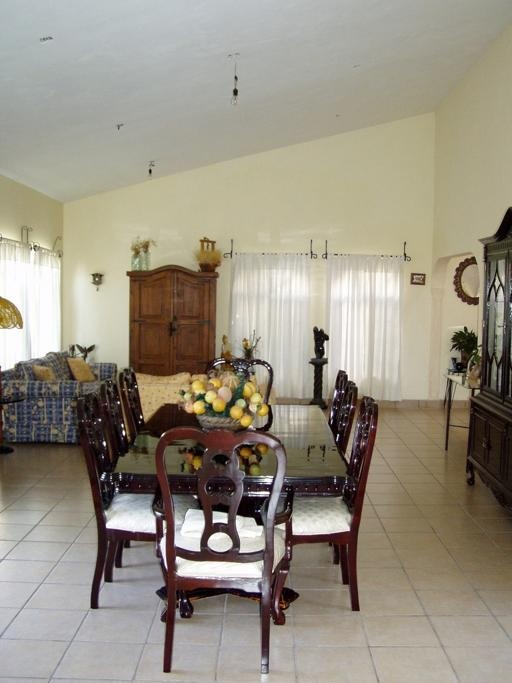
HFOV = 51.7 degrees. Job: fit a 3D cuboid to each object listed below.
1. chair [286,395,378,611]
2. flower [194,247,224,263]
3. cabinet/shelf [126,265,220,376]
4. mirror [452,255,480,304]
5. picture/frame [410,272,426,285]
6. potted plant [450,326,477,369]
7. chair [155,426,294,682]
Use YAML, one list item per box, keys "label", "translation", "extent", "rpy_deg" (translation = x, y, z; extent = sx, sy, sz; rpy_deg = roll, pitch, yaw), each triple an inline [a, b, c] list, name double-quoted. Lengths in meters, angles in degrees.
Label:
- label: "chair"
  translation: [0.349, 0.739, 2.432]
  extent: [0.360, 0.966, 0.554]
  rpy_deg: [1, 1, 7]
- label: "flower"
  translation: [-0.698, -1.207, 7.428]
  extent: [0.267, 0.142, 0.274]
  rpy_deg: [1, 5, -1]
- label: "cabinet/shelf"
  translation: [-1.209, -0.166, 7.439]
  extent: [1.172, 2.008, 0.457]
  rpy_deg: [-2, 23, -15]
- label: "mirror"
  translation: [3.135, -0.889, 7.804]
  extent: [0.354, 0.673, 0.302]
  rpy_deg: [1, 1, -2]
- label: "picture/frame"
  translation: [2.383, -0.930, 7.808]
  extent: [0.164, 0.149, 0.022]
  rpy_deg: [4, 10, 0]
- label: "potted plant"
  translation: [2.311, 0.093, 5.802]
  extent: [0.313, 0.401, 0.295]
  rpy_deg: [5, -3, -16]
- label: "chair"
  translation: [-0.142, 0.691, 2.043]
  extent: [0.523, 0.934, 0.555]
  rpy_deg: [4, 11, 10]
